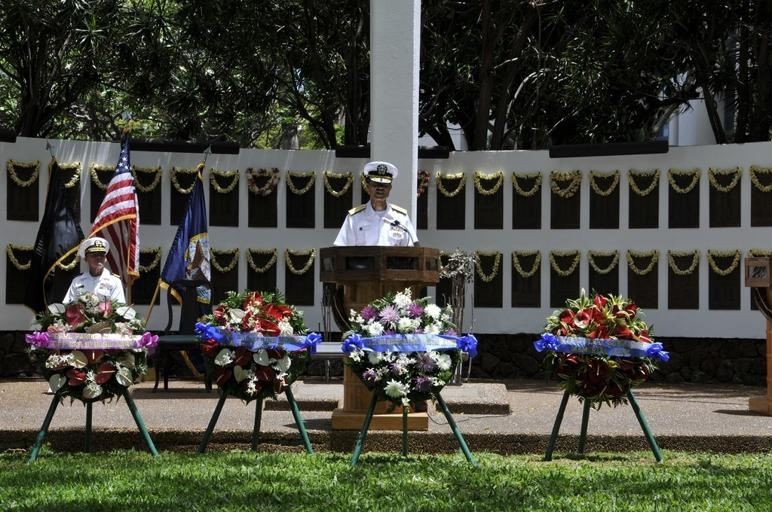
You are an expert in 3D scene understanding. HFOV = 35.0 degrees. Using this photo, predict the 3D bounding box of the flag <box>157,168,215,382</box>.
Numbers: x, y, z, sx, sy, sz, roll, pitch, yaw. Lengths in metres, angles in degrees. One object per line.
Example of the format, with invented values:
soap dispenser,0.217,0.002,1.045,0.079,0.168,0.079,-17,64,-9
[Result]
flag,-3.740,0.138,22.947,1.003,3.602,0.624,13,21,-4

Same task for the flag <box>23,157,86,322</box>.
flag,-6.106,-0.487,22.695,1.142,3.517,0.633,-9,-34,-6

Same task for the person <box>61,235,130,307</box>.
person,-4.641,0.197,19.962,1.190,1.662,0.611,1,-4,-20

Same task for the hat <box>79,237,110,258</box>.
hat,-4.421,-0.165,18.743,0.417,0.207,0.374,1,-1,-19

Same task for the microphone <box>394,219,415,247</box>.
microphone,0.288,-0.382,18.311,0.108,0.381,0.291,-24,23,-1

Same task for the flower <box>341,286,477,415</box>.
flower,0.351,1.318,16.918,1.599,0.803,1.429,8,19,41

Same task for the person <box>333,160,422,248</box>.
person,-0.110,-0.791,18.248,1.128,1.257,0.633,1,-1,-31
